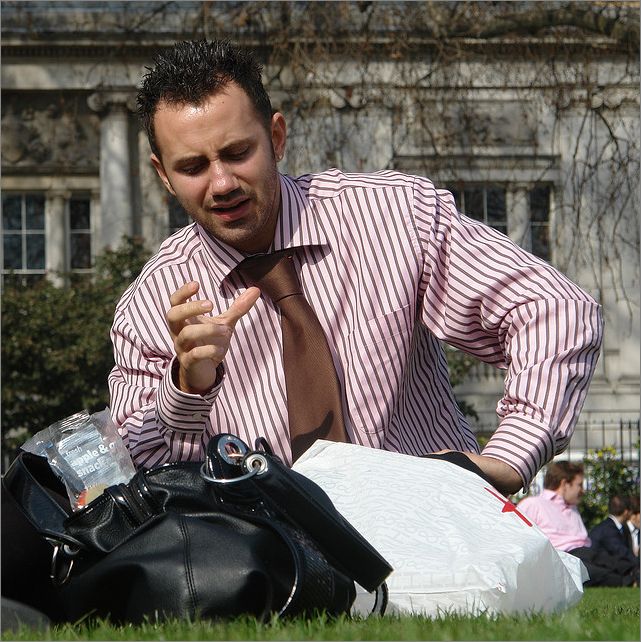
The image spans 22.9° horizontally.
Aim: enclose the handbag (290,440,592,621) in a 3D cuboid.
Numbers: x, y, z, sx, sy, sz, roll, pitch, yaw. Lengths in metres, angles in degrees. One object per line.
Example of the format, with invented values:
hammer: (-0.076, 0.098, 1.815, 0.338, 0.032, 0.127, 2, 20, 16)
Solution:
handbag: (0.583, 1.035, 7.912, 0.991, 0.332, 0.941, 30, 54, 14)
